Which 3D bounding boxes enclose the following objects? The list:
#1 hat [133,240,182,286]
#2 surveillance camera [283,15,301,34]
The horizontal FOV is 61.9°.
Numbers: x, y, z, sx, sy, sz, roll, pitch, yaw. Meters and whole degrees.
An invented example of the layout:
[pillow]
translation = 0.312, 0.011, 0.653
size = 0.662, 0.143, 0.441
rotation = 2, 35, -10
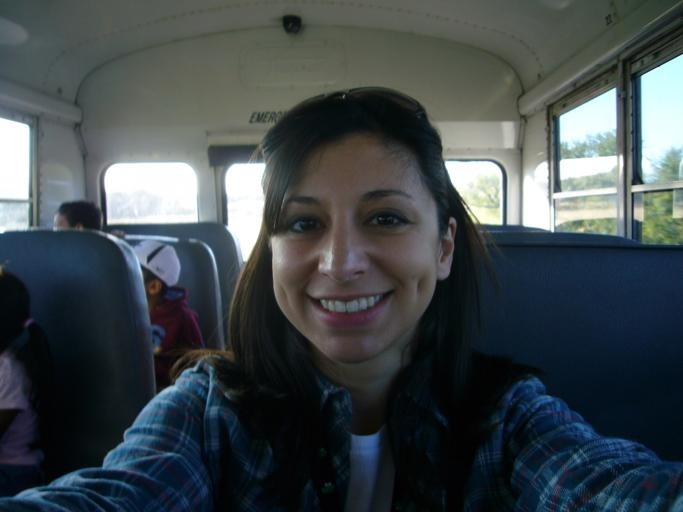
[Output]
[hat]
translation = -1.243, 0.036, 3.973
size = 0.339, 0.200, 0.235
rotation = 33, 0, -34
[surveillance camera]
translation = -0.446, -2.091, 5.124
size = 0.176, 0.122, 0.152
rotation = -2, 6, -2
